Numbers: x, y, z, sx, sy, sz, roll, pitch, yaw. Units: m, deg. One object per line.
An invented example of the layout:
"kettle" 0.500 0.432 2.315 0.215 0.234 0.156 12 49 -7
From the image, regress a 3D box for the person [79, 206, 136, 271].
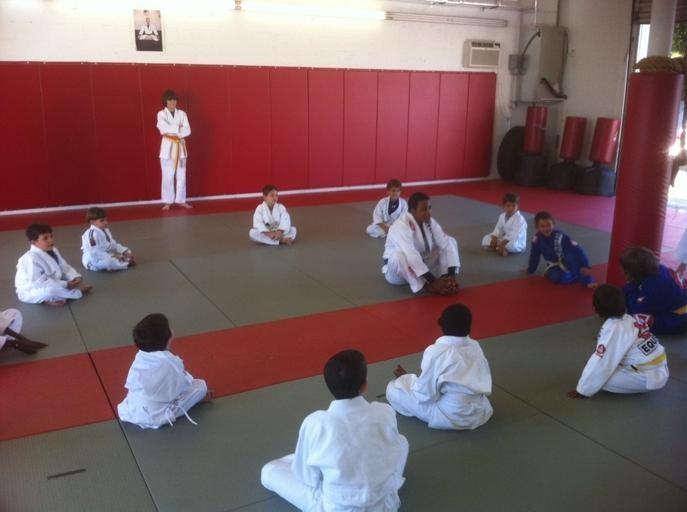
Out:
"person" -2.969 -0.201 6.479 0.526 0.806 0.596 -7 12 -23

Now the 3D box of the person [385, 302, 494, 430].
"person" 0.714 0.743 3.864 0.721 0.945 0.755 -6 24 -10

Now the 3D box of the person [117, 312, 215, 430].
"person" -1.368 0.801 3.912 0.604 0.837 0.567 6 19 3

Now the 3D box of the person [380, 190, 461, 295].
"person" 0.942 -0.163 6.175 0.799 1.164 1.056 -12 8 -16

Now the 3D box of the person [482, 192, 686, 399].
"person" 2.127 0.451 4.020 0.713 0.943 1.209 21 54 42

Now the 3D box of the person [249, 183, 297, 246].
"person" -1.039 -0.602 7.714 0.625 0.880 0.574 0 10 -2

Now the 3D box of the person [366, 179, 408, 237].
"person" 0.712 -0.752 8.096 0.662 0.909 0.565 -3 17 -11

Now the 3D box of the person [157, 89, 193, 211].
"person" -3.182 -1.970 9.703 0.618 2.139 0.371 -7 21 -19

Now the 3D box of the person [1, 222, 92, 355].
"person" -3.230 0.386 5.635 0.609 0.632 1.082 12 29 -5
